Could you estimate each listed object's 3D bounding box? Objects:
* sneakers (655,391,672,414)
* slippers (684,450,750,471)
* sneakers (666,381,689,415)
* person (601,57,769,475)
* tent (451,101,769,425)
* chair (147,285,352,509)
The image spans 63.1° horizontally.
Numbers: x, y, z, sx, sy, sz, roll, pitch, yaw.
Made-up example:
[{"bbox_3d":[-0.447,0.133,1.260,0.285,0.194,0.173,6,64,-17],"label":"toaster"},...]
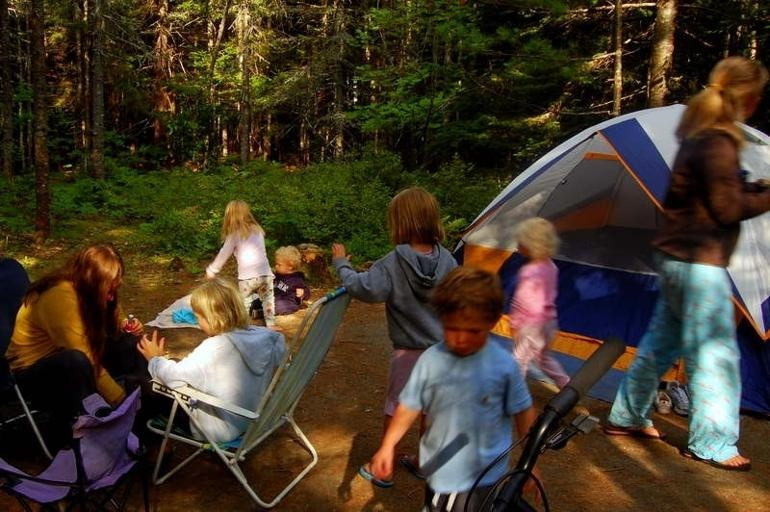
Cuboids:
[{"bbox_3d":[2.649,1.398,5.922,0.134,0.121,0.288,0,12,15],"label":"sneakers"},{"bbox_3d":[2.707,1.616,5.072,0.449,0.169,0.164,1,8,31],"label":"slippers"},{"bbox_3d":[2.775,1.341,5.963,0.147,0.156,0.372,-2,8,-1],"label":"sneakers"},{"bbox_3d":[2.543,0.064,5.006,1.010,3.251,0.388,6,9,22],"label":"person"},{"bbox_3d":[3.335,-0.021,7.201,3.310,2.018,3.308,-5,9,-41],"label":"tent"},{"bbox_3d":[-0.956,1.075,5.588,1.871,1.887,1.367,7,1,12],"label":"chair"}]
